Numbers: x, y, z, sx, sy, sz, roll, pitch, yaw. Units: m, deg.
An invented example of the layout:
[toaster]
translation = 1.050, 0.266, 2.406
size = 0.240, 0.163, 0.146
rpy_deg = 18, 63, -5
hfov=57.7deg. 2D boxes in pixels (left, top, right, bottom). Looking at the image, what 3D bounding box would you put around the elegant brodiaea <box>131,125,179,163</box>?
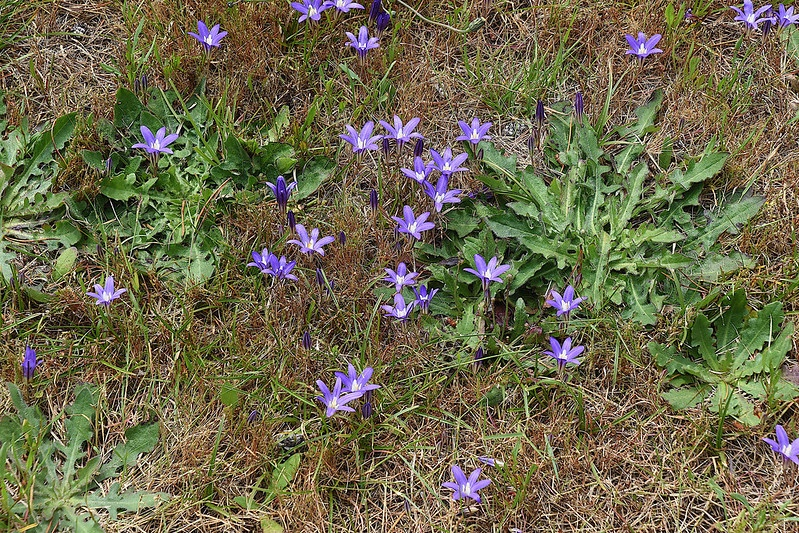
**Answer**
[elegant brodiaea]
translation = -1.535, -0.778, 4.604
size = 0.243, 0.159, 0.305
rpy_deg = 7, 78, -10
